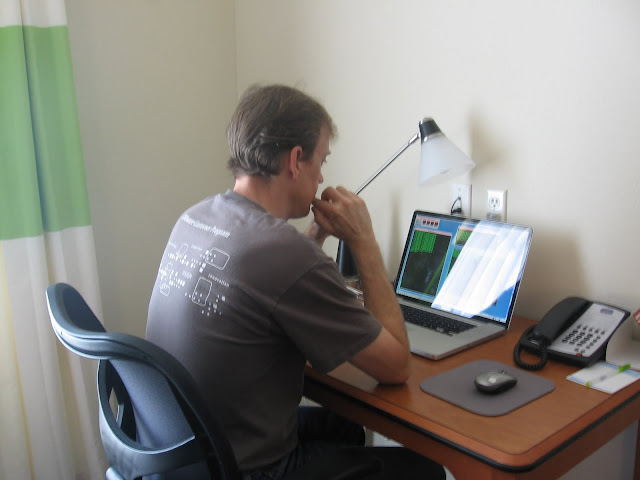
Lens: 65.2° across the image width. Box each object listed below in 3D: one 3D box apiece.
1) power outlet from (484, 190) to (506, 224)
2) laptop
[{"bbox_3d":[0.641,-0.126,1.827,0.067,0.128,0.061,5,25,24],"label":"power outlet"},{"bbox_3d":[0.513,0.129,1.780,0.276,0.471,0.452,3,8,-37],"label":"laptop"}]
